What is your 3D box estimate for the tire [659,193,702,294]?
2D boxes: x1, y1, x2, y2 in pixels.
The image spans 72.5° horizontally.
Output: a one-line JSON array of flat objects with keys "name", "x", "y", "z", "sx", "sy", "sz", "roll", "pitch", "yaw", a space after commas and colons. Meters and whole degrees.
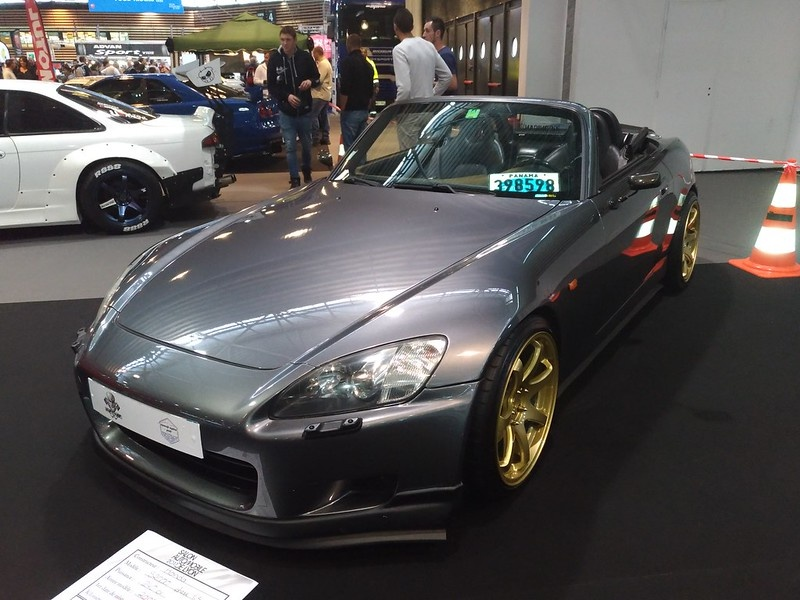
[{"name": "tire", "x": 2.183, "y": -0.464, "z": 4.317, "sx": 0.263, "sy": 0.779, "sz": 0.771, "roll": 9, "pitch": 19, "yaw": 37}]

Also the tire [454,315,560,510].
[{"name": "tire", "x": 0.426, "y": 0.447, "z": 2.211, "sx": 0.208, "sy": 0.674, "sz": 0.604, "roll": 10, "pitch": -17, "yaw": 32}]

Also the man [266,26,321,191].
[{"name": "man", "x": -1.403, "y": -2.575, "z": 7.436, "sx": 0.716, "sy": 2.040, "sz": 0.670, "roll": -5, "pitch": 25, "yaw": -15}]

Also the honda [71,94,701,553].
[{"name": "honda", "x": 0.400, "y": -0.141, "z": 2.951, "sx": 1.798, "sy": 1.153, "sz": 3.394, "roll": 16, "pitch": 29, "yaw": 37}]

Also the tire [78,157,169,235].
[{"name": "tire", "x": -2.868, "y": -1.103, "z": 5.596, "sx": 0.617, "sy": 0.624, "sz": 0.219, "roll": 15, "pitch": 5, "yaw": -35}]

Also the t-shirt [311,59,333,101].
[{"name": "t-shirt", "x": -1.545, "y": -4.462, "z": 11.033, "sx": 0.300, "sy": 0.529, "sz": 0.454, "roll": 6, "pitch": 24, "yaw": 4}]

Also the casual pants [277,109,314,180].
[{"name": "casual pants", "x": -1.433, "y": -2.253, "z": 7.623, "sx": 0.400, "sy": 1.312, "sz": 0.305, "roll": -8, "pitch": 41, "yaw": -11}]
